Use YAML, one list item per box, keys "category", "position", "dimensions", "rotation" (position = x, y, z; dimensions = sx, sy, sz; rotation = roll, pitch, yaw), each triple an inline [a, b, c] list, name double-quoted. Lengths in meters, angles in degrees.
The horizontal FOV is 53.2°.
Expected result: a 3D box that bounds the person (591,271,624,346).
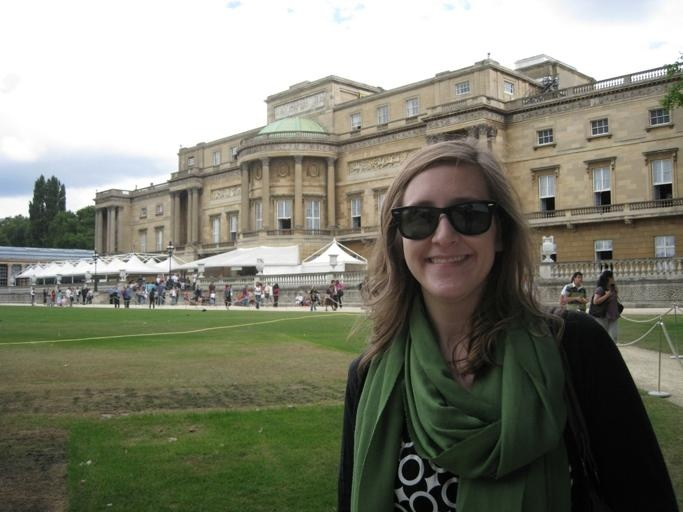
- category: "person"
  position: [5.116, 1.144, 13.115]
  dimensions: [0.529, 1.711, 0.515]
  rotation: [-9, 17, -3]
